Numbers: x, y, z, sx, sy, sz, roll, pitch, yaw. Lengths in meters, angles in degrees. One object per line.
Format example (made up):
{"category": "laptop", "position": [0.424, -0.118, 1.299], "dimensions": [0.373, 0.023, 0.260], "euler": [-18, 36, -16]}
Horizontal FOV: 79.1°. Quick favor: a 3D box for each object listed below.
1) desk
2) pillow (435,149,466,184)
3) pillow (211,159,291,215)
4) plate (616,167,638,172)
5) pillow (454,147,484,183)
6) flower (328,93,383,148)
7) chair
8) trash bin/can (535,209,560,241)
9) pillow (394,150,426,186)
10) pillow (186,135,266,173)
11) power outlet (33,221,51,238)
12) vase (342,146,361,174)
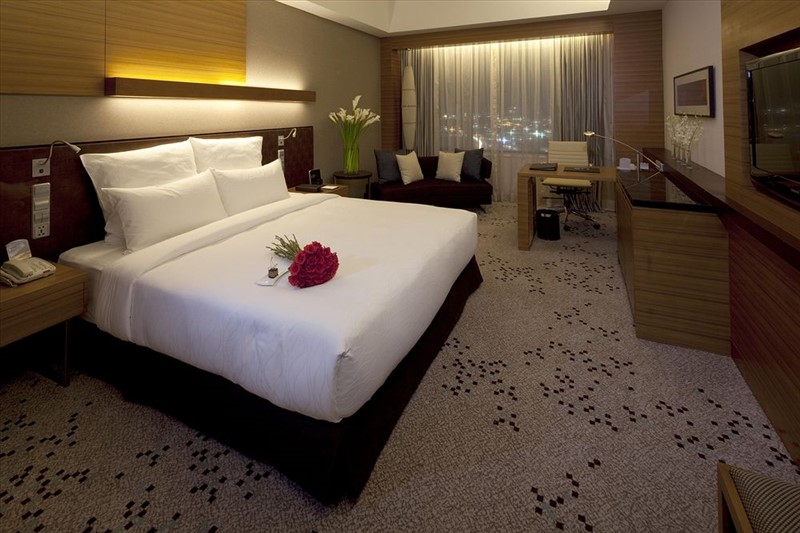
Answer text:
{"category": "desk", "position": [1.989, -0.963, 6.257], "dimensions": [1.166, 0.929, 1.168], "euler": [2, 13, 14]}
{"category": "pillow", "position": [0.799, -1.583, 7.706], "dimensions": [0.519, 0.546, 0.197], "euler": [9, -2, 28]}
{"category": "pillow", "position": [-1.486, -0.805, 4.941], "dimensions": [0.209, 0.473, 0.827], "euler": [-7, 13, 42]}
{"category": "plate", "position": [2.862, -1.251, 6.117], "dimensions": [0.218, 0.030, 0.233], "euler": [6, 25, 24]}
{"category": "pillow", "position": [1.041, -1.648, 7.801], "dimensions": [0.625, 0.517, 0.245], "euler": [14, 9, 40]}
{"category": "flower", "position": [-0.724, -2.147, 7.147], "dimensions": [0.662, 0.769, 0.719], "euler": [1, 21, -16]}
{"category": "chair", "position": [2.438, -1.261, 7.118], "dimensions": [0.772, 1.256, 0.813], "euler": [2, 9, 15]}
{"category": "trash bin/can", "position": [1.867, -0.568, 6.443], "dimensions": [0.340, 0.429, 0.361], "euler": [-2, 8, 0]}
{"category": "pillow", "position": [0.170, -1.575, 7.727], "dimensions": [0.240, 0.437, 0.521], "euler": [17, 26, 36]}
{"category": "pillow", "position": [-1.823, -1.144, 5.043], "dimensions": [0.762, 0.474, 0.206], "euler": [-1, -2, -14]}
{"category": "power outlet", "position": [-2.956, -0.315, 3.982], "dimensions": [0.014, 0.145, 0.120], "euler": [10, 14, 30]}
{"category": "vase", "position": [-0.704, -1.636, 7.362], "dimensions": [0.324, 0.560, 0.358], "euler": [3, 12, -4]}
